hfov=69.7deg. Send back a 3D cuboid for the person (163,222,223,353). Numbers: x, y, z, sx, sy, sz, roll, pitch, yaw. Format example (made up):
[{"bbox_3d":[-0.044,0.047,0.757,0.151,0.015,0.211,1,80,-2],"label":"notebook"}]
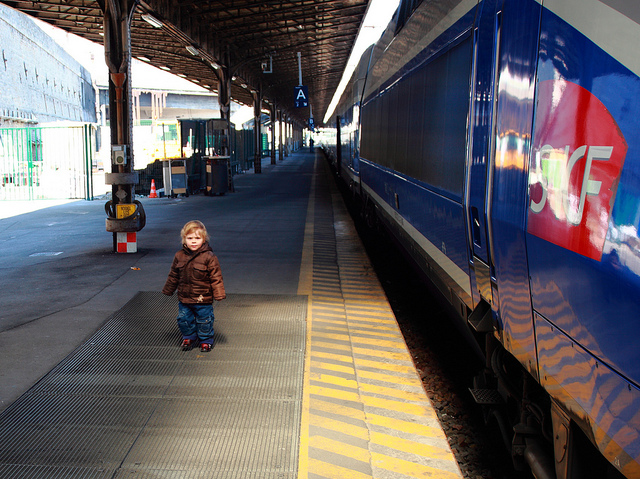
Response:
[{"bbox_3d":[-1.261,0.531,4.845,0.588,1.420,0.242,4,10,23],"label":"person"}]

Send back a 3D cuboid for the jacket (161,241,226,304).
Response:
[{"bbox_3d":[-1.324,0.329,4.875,0.652,0.672,0.321,2,2,9],"label":"jacket"}]

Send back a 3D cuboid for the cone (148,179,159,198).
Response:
[{"bbox_3d":[-7.112,-2.119,19.728,0.520,0.826,0.547,0,-1,-6],"label":"cone"}]
